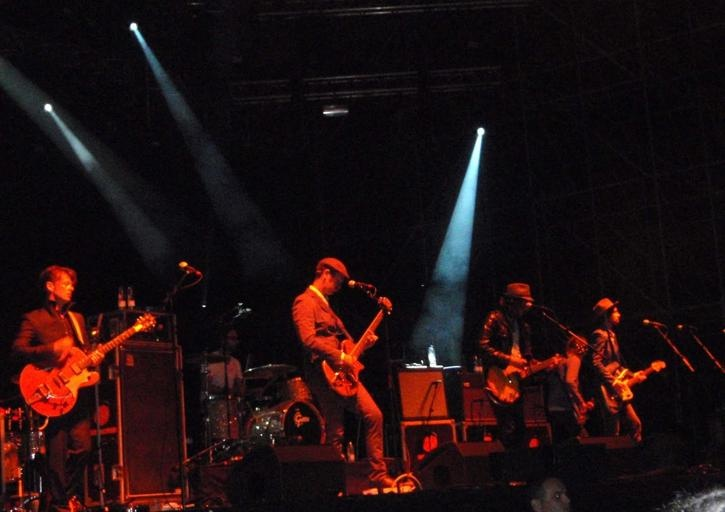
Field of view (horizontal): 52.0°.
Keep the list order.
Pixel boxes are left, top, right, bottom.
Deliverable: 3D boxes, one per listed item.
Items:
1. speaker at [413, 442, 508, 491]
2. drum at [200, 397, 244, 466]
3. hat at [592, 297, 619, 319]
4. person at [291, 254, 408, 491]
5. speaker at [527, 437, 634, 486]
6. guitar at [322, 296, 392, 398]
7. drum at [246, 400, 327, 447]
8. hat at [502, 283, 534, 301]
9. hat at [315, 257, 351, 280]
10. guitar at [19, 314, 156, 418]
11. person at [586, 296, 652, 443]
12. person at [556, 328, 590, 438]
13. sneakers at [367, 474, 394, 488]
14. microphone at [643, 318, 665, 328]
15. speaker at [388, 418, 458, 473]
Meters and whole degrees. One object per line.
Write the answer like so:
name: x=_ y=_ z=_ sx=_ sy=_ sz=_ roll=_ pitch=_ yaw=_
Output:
speaker: x=0.977 y=2.006 z=7.129 sx=0.571 sy=0.361 sz=0.544 roll=6 pitch=-15 yaw=-28
drum: x=-1.880 y=2.329 z=9.924 sx=0.492 sy=0.978 sz=2.325 roll=-2 pitch=-21 yaw=-12
hat: x=3.445 y=0.735 z=10.490 sx=0.252 sy=0.098 sz=0.225 roll=-41 pitch=-3 yaw=24
person: x=-0.249 y=1.198 z=7.830 sx=0.859 sy=2.473 sz=0.451 roll=-5 pitch=-19 yaw=-4
speaker: x=1.988 y=1.700 z=6.211 sx=0.723 sy=0.254 sz=0.559 roll=0 pitch=-5 yaw=-20
guitar: x=-0.073 y=1.206 z=9.618 sx=0.268 sy=0.610 sz=1.620 roll=-18 pitch=22 yaw=32
drum: x=-0.909 y=2.050 z=9.012 sx=0.713 sy=0.479 sz=0.448 roll=-1 pitch=7 yaw=-5
hat: x=2.066 y=0.453 z=9.994 sx=0.261 sy=0.164 sz=0.348 roll=18 pitch=-16 yaw=-34
hat: x=-0.312 y=0.070 z=8.232 sx=0.360 sy=0.193 sz=0.275 roll=17 pitch=-12 yaw=-3
guitar: x=-2.922 y=1.112 z=8.038 sx=0.182 sy=0.618 sz=1.571 roll=-24 pitch=15 yaw=49
person: x=3.490 y=1.544 z=10.193 sx=0.686 sy=2.020 sz=1.526 roll=-13 pitch=-20 yaw=19
person: x=2.793 y=1.686 z=9.688 sx=0.440 sy=1.268 sz=0.412 roll=-2 pitch=-19 yaw=-12
sneakers: x=0.183 y=2.279 z=7.522 sx=0.243 sy=0.136 sz=0.126 roll=-7 pitch=-20 yaw=-2
microphone: x=4.274 y=0.987 z=10.877 sx=0.375 sy=0.132 sz=0.126 roll=10 pitch=-5 yaw=-32
speaker: x=0.720 y=2.309 z=9.063 sx=0.751 sy=0.709 sz=0.394 roll=7 pitch=-22 yaw=-33
